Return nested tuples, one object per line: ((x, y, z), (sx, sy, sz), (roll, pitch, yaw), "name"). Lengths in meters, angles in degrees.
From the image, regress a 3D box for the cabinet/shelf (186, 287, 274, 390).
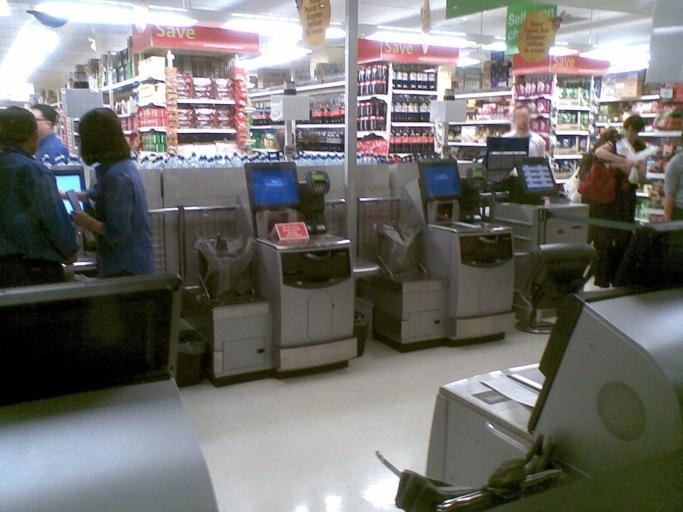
((-0.841, 0.498, 4.081), (0.483, 0.679, 0.903), (-7, 16, -28), "cabinet/shelf")

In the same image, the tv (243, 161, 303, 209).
((-0.522, -0.534, 4.105), (0.369, 0.356, 0.038), (-4, -12, -27), "tv")

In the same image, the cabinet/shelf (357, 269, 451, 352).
((0.584, 0.363, 4.649), (0.533, 0.527, 0.748), (-8, 13, -26), "cabinet/shelf")

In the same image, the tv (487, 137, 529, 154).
((1.694, -1.131, 5.478), (0.302, 0.121, 0.213), (-2, 9, -11), "tv")

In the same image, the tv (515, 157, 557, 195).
((1.883, -0.774, 5.210), (0.382, 0.386, 0.104), (3, -16, -22), "tv")
